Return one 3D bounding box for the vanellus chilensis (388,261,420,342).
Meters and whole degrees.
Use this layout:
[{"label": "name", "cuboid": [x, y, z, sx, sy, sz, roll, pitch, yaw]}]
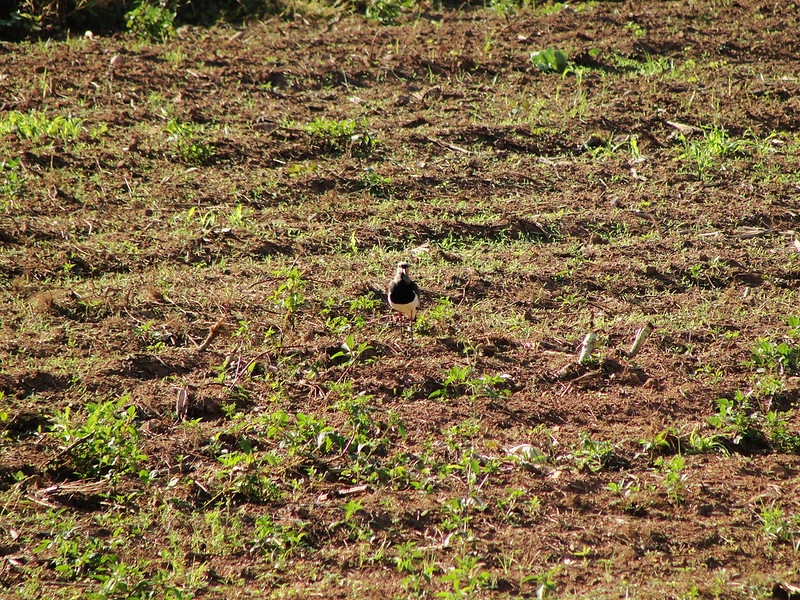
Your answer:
[{"label": "vanellus chilensis", "cuboid": [0.038, -0.032, 10.020, 0.250, 0.631, 0.372, -2, 19, -1]}]
